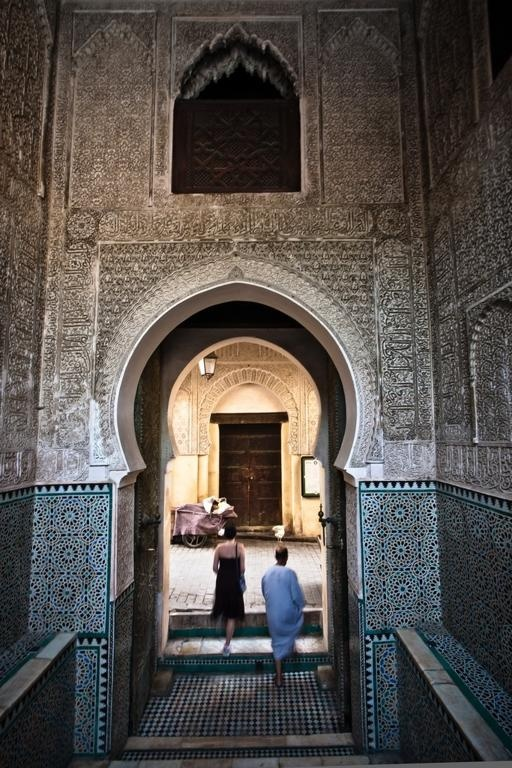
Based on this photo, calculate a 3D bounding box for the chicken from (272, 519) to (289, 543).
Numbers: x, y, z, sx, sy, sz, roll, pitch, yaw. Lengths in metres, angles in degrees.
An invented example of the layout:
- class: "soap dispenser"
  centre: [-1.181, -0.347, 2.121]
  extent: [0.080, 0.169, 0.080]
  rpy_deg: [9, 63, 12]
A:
- class: "chicken"
  centre: [0.273, 1.566, 5.886]
  extent: [0.143, 0.215, 0.265]
  rpy_deg: [1, -29, -2]

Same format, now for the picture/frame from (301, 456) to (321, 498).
- class: "picture/frame"
  centre: [0.598, 1.029, 6.004]
  extent: [0.242, 0.451, 0.171]
  rpy_deg: [-4, -7, 28]

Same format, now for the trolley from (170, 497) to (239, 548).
- class: "trolley"
  centre: [-0.572, 1.422, 5.876]
  extent: [0.464, 0.431, 0.601]
  rpy_deg: [-2, -6, 4]
